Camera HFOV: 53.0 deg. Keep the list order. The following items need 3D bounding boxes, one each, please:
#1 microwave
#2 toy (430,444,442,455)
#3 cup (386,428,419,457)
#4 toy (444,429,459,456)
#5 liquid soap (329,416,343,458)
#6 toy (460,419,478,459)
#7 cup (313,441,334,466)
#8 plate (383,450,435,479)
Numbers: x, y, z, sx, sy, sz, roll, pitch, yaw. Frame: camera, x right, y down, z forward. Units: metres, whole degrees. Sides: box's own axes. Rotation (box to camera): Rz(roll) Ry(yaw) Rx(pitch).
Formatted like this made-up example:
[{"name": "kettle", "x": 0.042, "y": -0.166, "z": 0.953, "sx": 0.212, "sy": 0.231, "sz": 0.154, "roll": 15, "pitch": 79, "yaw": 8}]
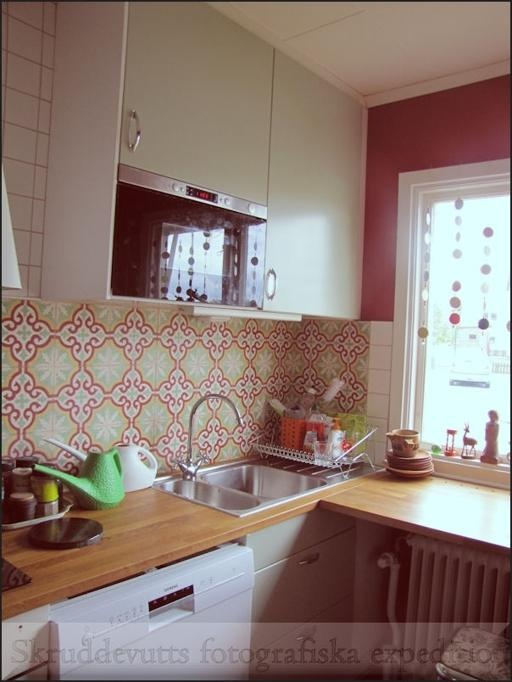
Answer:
[{"name": "microwave", "x": -0.265, "y": -0.291, "z": 1.622, "sx": 0.310, "sy": 0.358, "sz": 0.569, "roll": 8, "pitch": 5, "yaw": 43}, {"name": "toy", "x": 0.768, "y": 0.457, "z": 2.189, "sx": 0.042, "sy": 0.041, "sz": 0.033, "roll": -5, "pitch": 10, "yaw": -28}, {"name": "cup", "x": 0.617, "y": 0.418, "z": 2.171, "sx": 0.118, "sy": 0.091, "sz": 0.095, "roll": 1, "pitch": 2, "yaw": 38}, {"name": "toy", "x": 0.828, "y": 0.427, "z": 2.190, "sx": 0.048, "sy": 0.117, "sz": 0.034, "roll": 2, "pitch": -2, "yaw": 21}, {"name": "liquid soap", "x": 0.352, "y": 0.401, "z": 2.217, "sx": 0.067, "sy": 0.178, "sz": 0.068, "roll": -4, "pitch": 19, "yaw": 3}, {"name": "toy", "x": 0.891, "y": 0.412, "z": 2.144, "sx": 0.060, "sy": 0.146, "sz": 0.038, "roll": 2, "pitch": -2, "yaw": 23}, {"name": "cup", "x": 0.277, "y": 0.472, "z": 2.196, "sx": 0.089, "sy": 0.098, "sz": 0.085, "roll": 0, "pitch": -3, "yaw": 0}, {"name": "plate", "x": 0.636, "y": 0.501, "z": 2.132, "sx": 0.190, "sy": 0.089, "sz": 0.127, "roll": 3, "pitch": -2, "yaw": 8}]
